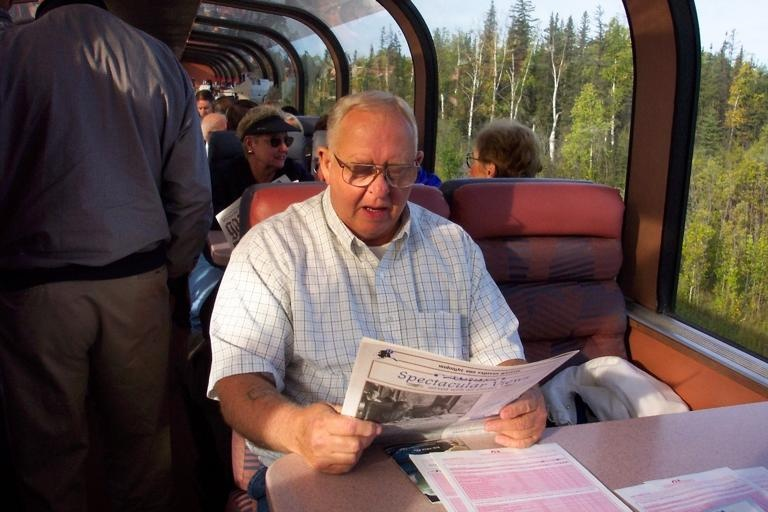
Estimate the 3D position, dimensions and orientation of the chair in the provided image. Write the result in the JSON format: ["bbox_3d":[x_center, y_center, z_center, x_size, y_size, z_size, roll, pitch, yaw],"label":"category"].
[{"bbox_3d":[0.021,0.371,2.679,1.683,1.825,1.316,-2,8,-20],"label":"chair"}]

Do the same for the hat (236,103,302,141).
[{"bbox_3d":[-1.065,-1.149,4.642,0.378,0.164,0.279,-11,1,30],"label":"hat"}]
